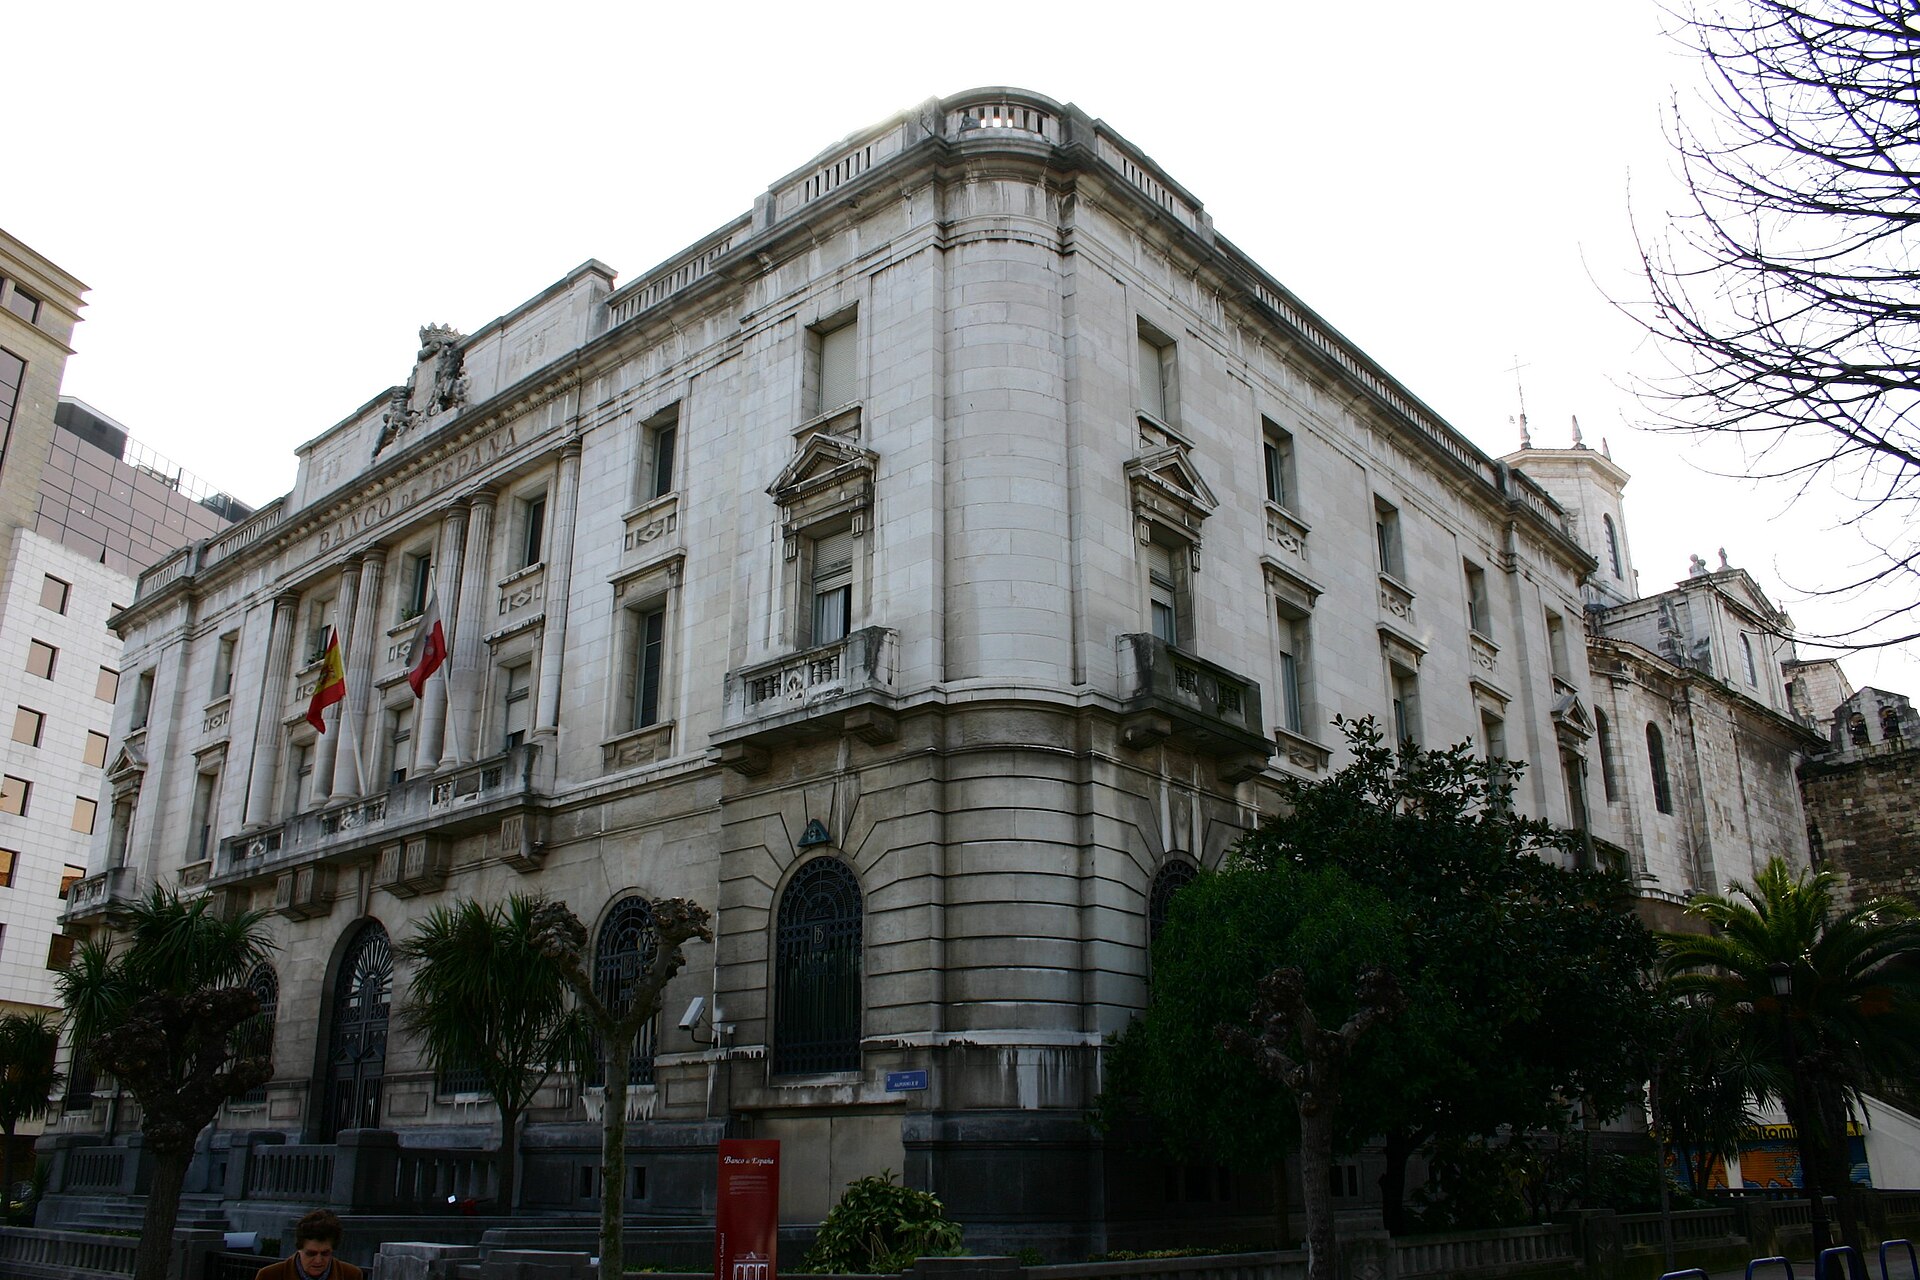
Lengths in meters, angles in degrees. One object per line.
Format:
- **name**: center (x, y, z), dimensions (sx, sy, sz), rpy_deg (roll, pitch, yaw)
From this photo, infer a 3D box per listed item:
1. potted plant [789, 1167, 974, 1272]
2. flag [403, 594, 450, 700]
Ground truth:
- **potted plant**: center (-1.290, 10.105, 25.639), dimensions (1.605, 1.709, 1.728), rpy_deg (-28, -37, 37)
- **flag**: center (-14.616, 0.036, 41.365), dimensions (0.986, 2.682, 2.705), rpy_deg (9, -27, -19)
